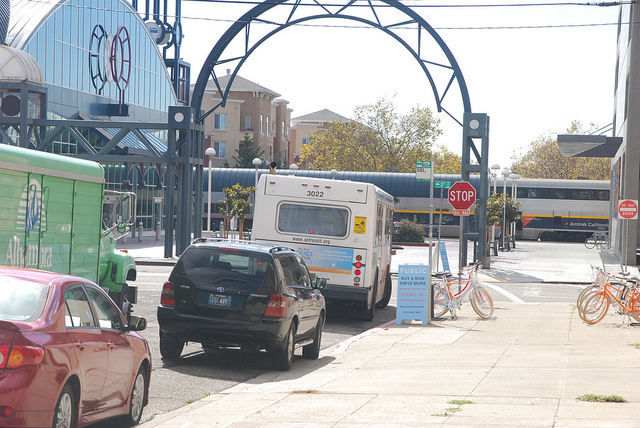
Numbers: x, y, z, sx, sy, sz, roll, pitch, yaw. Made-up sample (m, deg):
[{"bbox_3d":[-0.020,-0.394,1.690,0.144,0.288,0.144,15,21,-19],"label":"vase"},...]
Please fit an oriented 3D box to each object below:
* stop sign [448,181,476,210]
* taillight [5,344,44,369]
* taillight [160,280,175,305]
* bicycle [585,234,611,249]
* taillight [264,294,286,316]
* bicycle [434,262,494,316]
[{"bbox_3d":[4.669,-0.604,25.003,1.004,1.008,0.108,0,2,-13],"label":"stop sign"},{"bbox_3d":[-3.322,1.578,8.465,0.315,0.230,0.144,4,-10,-17],"label":"taillight"},{"bbox_3d":[-2.813,1.423,13.886,0.151,0.435,0.353,0,-2,-38],"label":"taillight"},{"bbox_3d":[20.179,2.024,55.282,1.648,1.051,0.841,0,5,3],"label":"bicycle"},{"bbox_3d":[-0.812,1.616,13.563,0.351,0.392,0.083,-1,-1,-6],"label":"taillight"},{"bbox_3d":[3.882,2.023,20.337,1.452,1.349,1.185,-1,-1,19],"label":"bicycle"}]
